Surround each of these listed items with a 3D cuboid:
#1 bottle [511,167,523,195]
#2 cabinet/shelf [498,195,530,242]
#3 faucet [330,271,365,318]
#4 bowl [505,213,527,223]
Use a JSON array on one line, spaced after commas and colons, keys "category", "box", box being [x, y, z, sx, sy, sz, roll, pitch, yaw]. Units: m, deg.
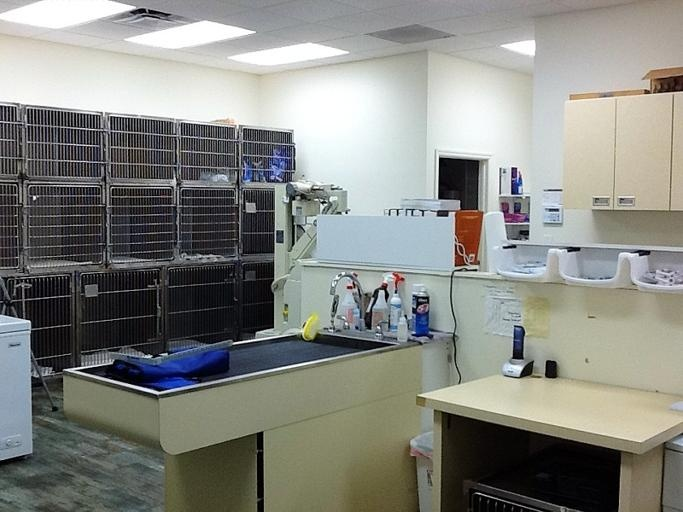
[{"category": "bottle", "box": [2.427, -1.036, 7.505, 0.142, 0.379, 0.233, 2, 7, 29]}, {"category": "cabinet/shelf", "box": [2.355, -0.543, 7.428, 0.407, 0.596, 0.730, 0, 7, 16]}, {"category": "faucet", "box": [0.038, 0.244, 3.556, 0.206, 0.361, 0.628, -1, 7, 2]}, {"category": "bowl", "box": [2.363, -0.506, 7.311, 0.304, 0.117, 0.161, 0, 7, 10]}]
